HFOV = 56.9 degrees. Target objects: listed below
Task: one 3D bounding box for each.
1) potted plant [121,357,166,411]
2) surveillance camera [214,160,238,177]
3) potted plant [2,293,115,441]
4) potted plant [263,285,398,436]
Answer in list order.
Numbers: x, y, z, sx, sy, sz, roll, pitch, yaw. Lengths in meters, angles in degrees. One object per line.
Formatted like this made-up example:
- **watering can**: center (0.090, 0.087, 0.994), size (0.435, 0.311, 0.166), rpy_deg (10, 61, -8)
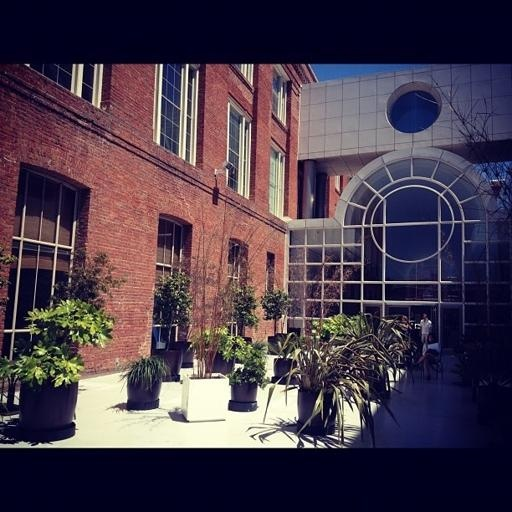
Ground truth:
- **potted plant**: center (-1.551, 1.774, 6.683), size (0.537, 0.709, 0.622), rpy_deg (-4, -19, 23)
- **surveillance camera**: center (-1.101, -2.809, 15.231), size (0.388, 0.315, 0.679), rpy_deg (15, -27, -41)
- **potted plant**: center (-2.182, 1.221, 5.245), size (0.989, 1.463, 0.763), rpy_deg (4, -4, -36)
- **potted plant**: center (1.105, 1.289, 6.129), size (1.391, 1.420, 2.255), rpy_deg (1, -20, 6)
